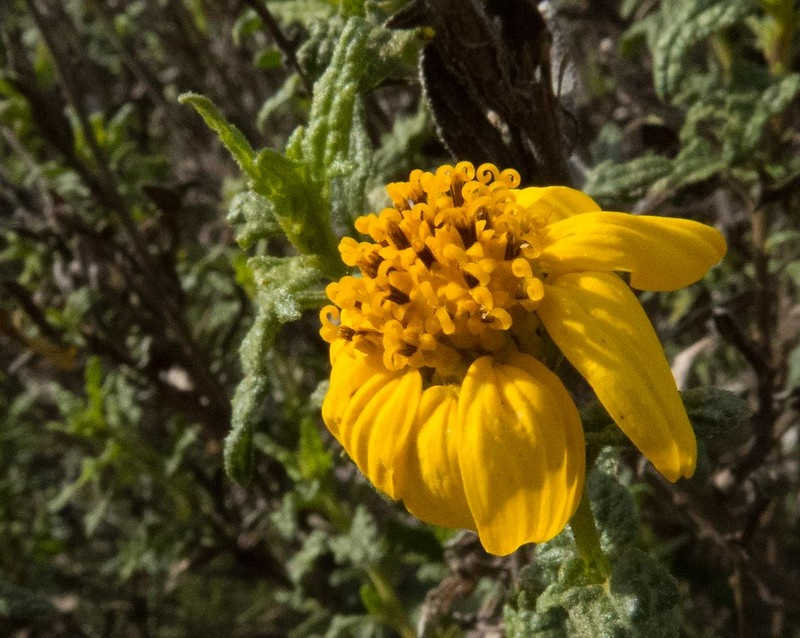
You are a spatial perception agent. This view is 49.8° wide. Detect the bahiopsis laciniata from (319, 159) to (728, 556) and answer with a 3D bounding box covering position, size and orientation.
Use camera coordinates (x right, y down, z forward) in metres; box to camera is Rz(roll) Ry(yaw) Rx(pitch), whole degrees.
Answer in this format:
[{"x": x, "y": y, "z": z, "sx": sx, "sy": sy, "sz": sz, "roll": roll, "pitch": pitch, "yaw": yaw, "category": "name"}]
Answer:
[{"x": 0.209, "y": 0.035, "z": 1.233, "sx": 0.510, "sy": 0.330, "sz": 0.530, "roll": -25, "pitch": 30, "yaw": 32, "category": "bahiopsis laciniata"}]
